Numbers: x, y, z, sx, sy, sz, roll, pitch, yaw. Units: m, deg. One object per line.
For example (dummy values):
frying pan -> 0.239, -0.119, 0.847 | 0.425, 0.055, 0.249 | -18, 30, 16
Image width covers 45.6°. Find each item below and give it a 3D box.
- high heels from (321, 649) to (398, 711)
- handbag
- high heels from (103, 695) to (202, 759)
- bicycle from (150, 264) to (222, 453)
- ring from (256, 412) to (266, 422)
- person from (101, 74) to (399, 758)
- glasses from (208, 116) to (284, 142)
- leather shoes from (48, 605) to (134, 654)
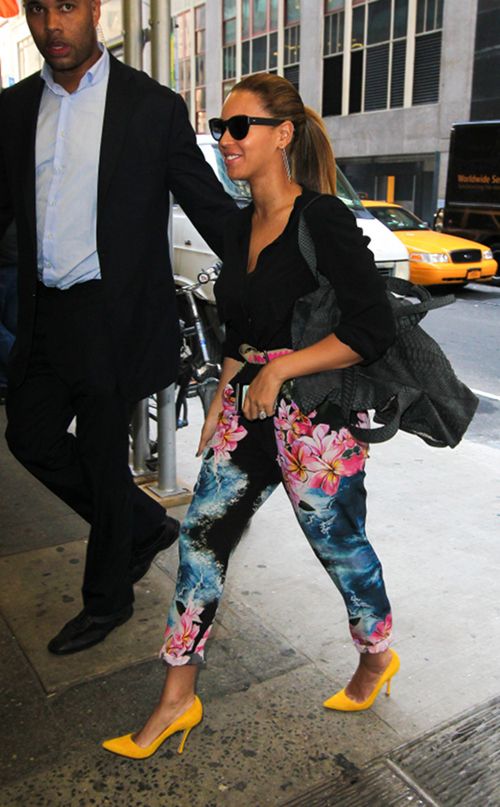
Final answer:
high heels -> 0.332, 0.836, 1.813 | 0.238, 0.159, 0.088 | -5, 7, -15
handbag -> 0.326, -0.080, 1.392 | 0.258, 0.393, 0.428 | 7, 8, 44
high heels -> -0.259, 0.856, 1.596 | 0.239, 0.160, 0.089 | 10, -12, -10
bicycle -> -0.429, -0.349, 5.137 | 0.578, 1.193, 0.744 | 22, 44, 2
ring -> 0.027, 0.030, 1.344 | 0.020, 0.019, 0.035 | 3, -12, 2
person -> 0.049, 0.055, 1.548 | 0.627, 1.768, 0.511 | 3, 6, 17
glasses -> -0.002, -0.653, 1.417 | 0.117, 0.039, 0.116 | -6, 14, -36
leather shoes -> -0.582, 0.830, 2.167 | 0.299, 0.111, 0.124 | -7, 13, -36
